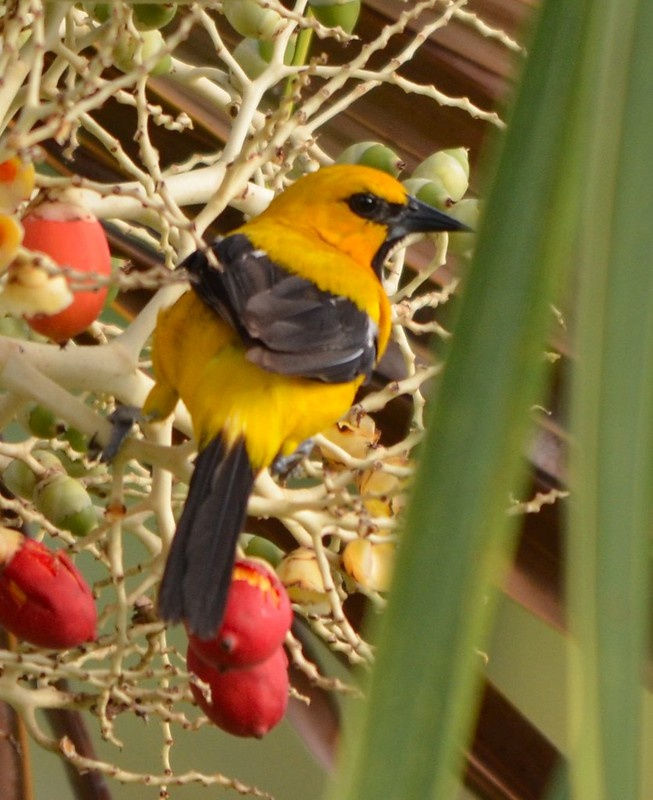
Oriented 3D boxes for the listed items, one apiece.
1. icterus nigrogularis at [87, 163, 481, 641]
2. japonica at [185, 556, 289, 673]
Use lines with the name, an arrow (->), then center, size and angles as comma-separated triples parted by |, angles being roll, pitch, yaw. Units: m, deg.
icterus nigrogularis -> -0.050, -0.045, 0.723 | 0.175, 0.268, 0.450 | 25, 21, -2
japonica -> -0.049, 0.148, 0.641 | 0.071, 0.063, 0.084 | 10, -11, 14
